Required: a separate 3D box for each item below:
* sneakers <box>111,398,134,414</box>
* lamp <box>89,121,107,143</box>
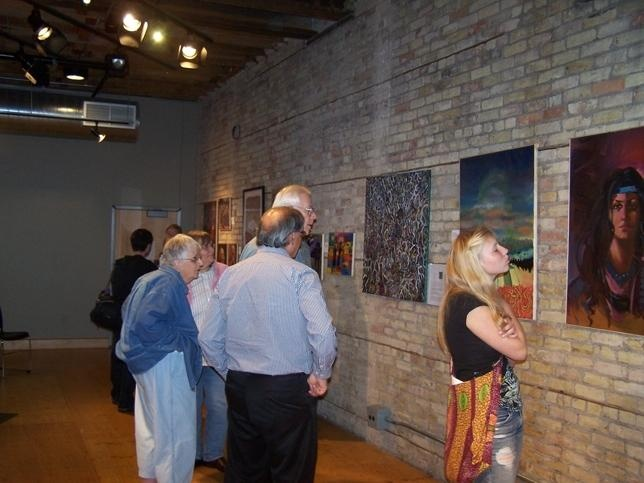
[{"bbox_3d":[-2.319,1.982,5.702,0.162,0.068,0.240,0,1,2],"label":"sneakers"},{"bbox_3d":[-3.983,-1.971,8.559,0.229,0.240,0.533,-2,1,-20],"label":"lamp"}]
